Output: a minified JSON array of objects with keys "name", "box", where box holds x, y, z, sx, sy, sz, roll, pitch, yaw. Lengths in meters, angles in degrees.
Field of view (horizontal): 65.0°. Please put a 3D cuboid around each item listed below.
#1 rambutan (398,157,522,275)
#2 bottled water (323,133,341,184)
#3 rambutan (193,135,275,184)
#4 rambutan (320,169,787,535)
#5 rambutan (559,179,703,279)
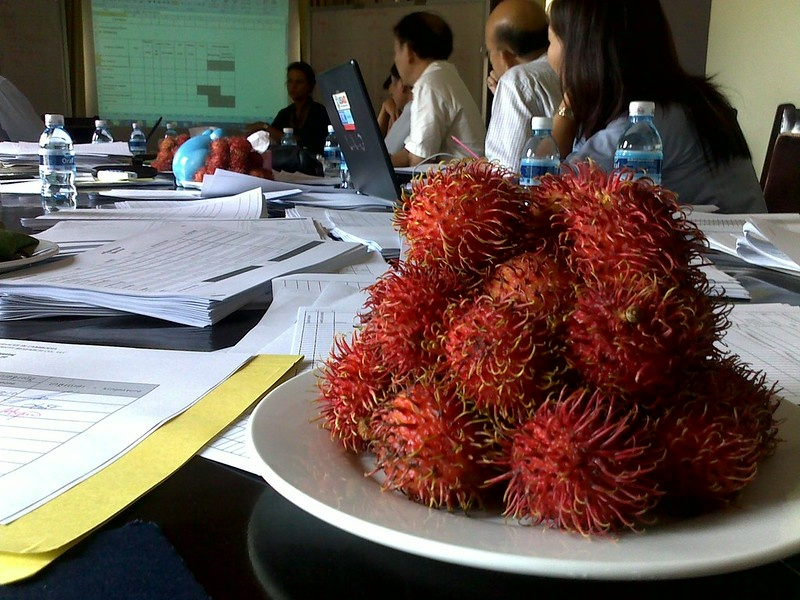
[{"name":"rambutan","box":[0.028,-0.035,0.292,0.048,0.042,0.045,-14,3,12]},{"name":"bottled water","box":[-0.297,-0.626,2.707,0.070,0.231,0.068,-2,12,-5]},{"name":"rambutan","box":[-0.352,-0.304,1.365,0.156,0.090,0.120,-6,12,-4]},{"name":"rambutan","box":[0.052,0.019,0.287,0.135,0.095,0.154,-1,22,-29]},{"name":"rambutan","box":[0.097,-0.019,0.267,0.055,0.036,0.040,-14,5,-38]}]
